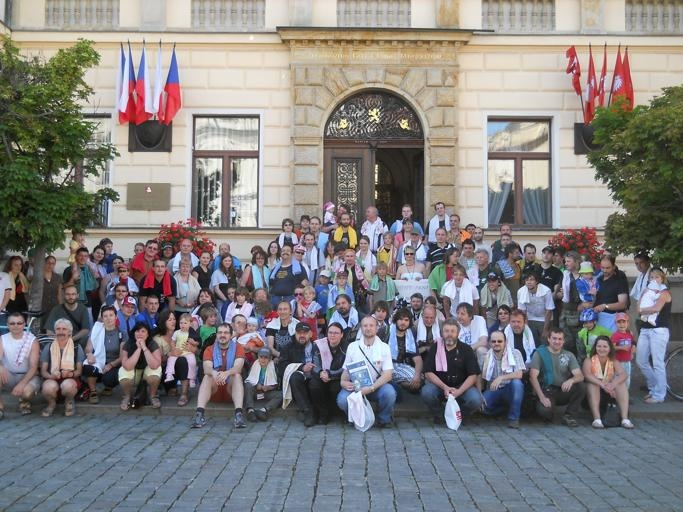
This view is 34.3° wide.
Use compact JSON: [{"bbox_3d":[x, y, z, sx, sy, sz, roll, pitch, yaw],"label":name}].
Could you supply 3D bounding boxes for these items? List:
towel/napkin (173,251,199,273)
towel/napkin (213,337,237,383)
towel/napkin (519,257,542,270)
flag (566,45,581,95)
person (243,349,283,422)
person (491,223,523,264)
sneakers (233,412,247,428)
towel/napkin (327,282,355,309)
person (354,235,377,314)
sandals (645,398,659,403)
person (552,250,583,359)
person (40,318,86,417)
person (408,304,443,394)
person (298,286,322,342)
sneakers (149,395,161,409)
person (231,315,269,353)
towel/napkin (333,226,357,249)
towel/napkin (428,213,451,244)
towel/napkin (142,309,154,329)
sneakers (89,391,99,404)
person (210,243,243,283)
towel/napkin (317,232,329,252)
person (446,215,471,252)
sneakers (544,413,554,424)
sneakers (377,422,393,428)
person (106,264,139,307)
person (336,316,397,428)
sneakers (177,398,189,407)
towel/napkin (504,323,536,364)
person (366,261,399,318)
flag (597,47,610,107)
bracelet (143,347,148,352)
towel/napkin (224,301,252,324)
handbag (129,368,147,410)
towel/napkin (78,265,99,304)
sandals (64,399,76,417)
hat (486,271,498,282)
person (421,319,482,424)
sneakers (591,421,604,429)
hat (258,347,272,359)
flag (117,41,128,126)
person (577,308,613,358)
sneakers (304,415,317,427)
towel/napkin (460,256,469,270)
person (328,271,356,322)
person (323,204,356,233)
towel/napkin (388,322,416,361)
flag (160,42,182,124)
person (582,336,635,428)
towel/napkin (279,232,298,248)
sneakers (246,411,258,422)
[{"bbox_3d":[-3.064,0.071,21.438,0.575,0.456,0.330,-1,-3,-26],"label":"towel/napkin"},{"bbox_3d":[-2.010,1.719,18.685,0.383,0.693,0.181,0,-11,2],"label":"towel/napkin"},{"bbox_3d":[3.597,0.153,21.333,0.298,0.141,0.305,0,25,22],"label":"towel/napkin"},{"bbox_3d":[5.126,-4.132,24.581,0.336,1.097,0.381,0,0,14],"label":"flag"},{"bbox_3d":[-1.333,2.098,18.626,0.673,1.021,0.989,5,16,1],"label":"person"},{"bbox_3d":[3.310,-0.237,22.355,0.647,1.313,0.417,3,-18,7],"label":"person"},{"bbox_3d":[-1.695,2.627,18.158,0.199,0.268,0.456,0,1,-6],"label":"sneakers"},{"bbox_3d":[-0.100,0.671,20.249,0.649,0.691,0.377,1,-7,-4],"label":"towel/napkin"},{"bbox_3d":[0.434,0.464,21.411,0.534,1.607,0.501,-2,9,2],"label":"person"},{"bbox_3d":[5.365,2.480,19.241,0.199,0.086,0.079,4,-3,15],"label":"sandals"},{"bbox_3d":[4.184,0.952,20.295,0.613,2.012,0.582,6,22,16],"label":"person"},{"bbox_3d":[-4.737,1.847,18.708,0.694,1.567,0.634,0,0,-15],"label":"person"},{"bbox_3d":[1.536,1.536,19.405,0.536,1.503,0.521,-6,33,3],"label":"person"},{"bbox_3d":[-0.591,1.056,19.810,0.387,1.100,0.346,5,19,12],"label":"person"},{"bbox_3d":[-3.178,2.448,18.779,0.164,0.188,0.257,0,1,-17],"label":"sneakers"},{"bbox_3d":[-1.662,1.441,19.227,0.809,0.350,0.576,3,2,-19],"label":"person"},{"bbox_3d":[0.037,-0.377,22.303,0.394,0.391,0.216,3,-17,-5],"label":"towel/napkin"},{"bbox_3d":[1.981,-0.563,22.623,0.580,0.768,0.408,1,-7,-2],"label":"towel/napkin"},{"bbox_3d":[-3.414,1.093,19.531,0.106,0.279,0.278,-23,-3,24],"label":"towel/napkin"},{"bbox_3d":[-4.251,2.361,18.884,0.179,0.234,0.204,0,1,-16],"label":"sneakers"},{"bbox_3d":[-2.360,0.190,21.818,0.704,0.902,0.467,-1,-12,-14],"label":"person"},{"bbox_3d":[-0.409,-0.286,22.231,0.315,0.084,0.600,16,28,-12],"label":"towel/napkin"},{"bbox_3d":[2.314,-0.450,22.366,0.751,0.764,0.434,-2,0,5],"label":"person"},{"bbox_3d":[3.436,2.667,18.568,0.187,0.173,0.338,0,1,12],"label":"sneakers"},{"bbox_3d":[0.695,2.737,18.156,0.257,0.076,0.161,0,1,-2],"label":"sneakers"},{"bbox_3d":[-4.065,0.479,20.597,0.534,0.805,0.484,24,30,36],"label":"person"},{"bbox_3d":[0.406,1.900,18.433,1.080,1.736,1.069,-10,17,-40],"label":"person"},{"bbox_3d":[-2.736,2.456,18.868,0.165,0.119,0.252,0,1,-4],"label":"sneakers"},{"bbox_3d":[3.084,1.473,18.910,0.473,0.666,0.220,-1,-5,2],"label":"towel/napkin"},{"bbox_3d":[0.769,0.706,20.917,0.578,1.227,0.237,-1,34,4],"label":"person"},{"bbox_3d":[5.743,-4.002,24.494,0.202,1.390,0.571,0,0,17],"label":"flag"},{"bbox_3d":[-3.355,1.570,18.866,0.097,0.083,0.102,-1,1,-44],"label":"bracelet"},{"bbox_3d":[-1.878,0.987,19.958,0.387,0.399,0.175,4,1,13],"label":"towel/napkin"},{"bbox_3d":[-3.455,2.222,18.802,0.232,0.627,0.364,0,0,2],"label":"handbag"},{"bbox_3d":[-4.838,0.527,21.077,0.454,0.626,0.294,-2,0,-29],"label":"towel/napkin"},{"bbox_3d":[-4.565,2.503,18.547,0.166,0.260,0.309,0,1,-15],"label":"sandals"},{"bbox_3d":[2.756,0.353,20.319,0.220,0.148,0.255,0,1,6],"label":"hat"},{"bbox_3d":[1.824,1.941,18.599,1.000,1.615,0.893,0,10,12],"label":"person"},{"bbox_3d":[4.211,2.746,18.273,0.185,0.116,0.153,0,1,9],"label":"sneakers"},{"bbox_3d":[-1.280,1.619,18.807,0.168,0.195,0.292,0,1,38],"label":"hat"},{"bbox_3d":[-4.893,-3.810,24.462,0.231,1.746,0.398,0,0,-11],"label":"flag"},{"bbox_3d":[4.419,1.335,19.308,0.392,1.079,0.672,-21,21,-37],"label":"person"},{"bbox_3d":[-0.534,2.691,18.250,0.125,0.158,0.188,1,-9,10],"label":"sneakers"},{"bbox_3d":[2.346,0.103,21.295,0.206,0.161,0.211,5,-3,5],"label":"towel/napkin"},{"bbox_3d":[-0.033,0.757,20.283,0.540,1.027,0.346,0,22,-4],"label":"person"},{"bbox_3d":[-0.104,-0.813,23.348,0.702,0.731,0.536,-1,5,-5],"label":"person"},{"bbox_3d":[1.006,1.461,18.968,0.589,0.857,0.328,1,-9,-9],"label":"towel/napkin"},{"bbox_3d":[-3.816,-3.805,24.562,0.461,1.772,0.422,0,0,19],"label":"flag"},{"bbox_3d":[4.418,2.064,18.529,0.806,1.457,0.680,0,0,12],"label":"person"},{"bbox_3d":[-1.110,-0.347,22.273,0.381,0.444,0.255,0,-13,-3],"label":"towel/napkin"},{"bbox_3d":[-1.513,2.608,18.331,0.176,0.208,0.080,0,0,-10],"label":"sneakers"}]
